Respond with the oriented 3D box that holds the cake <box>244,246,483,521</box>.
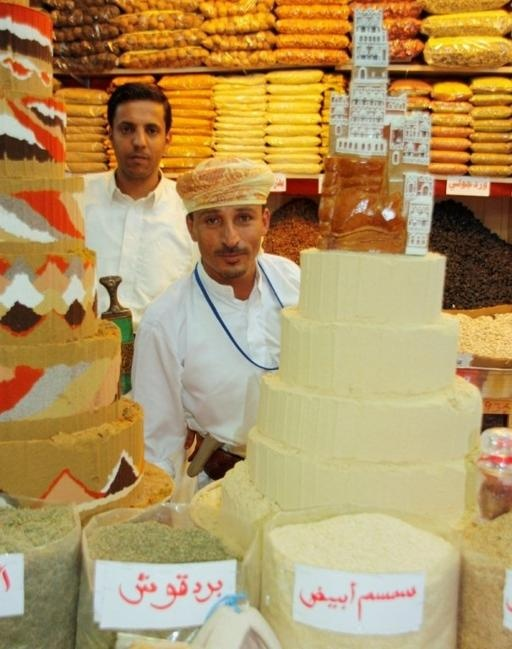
[{"bbox_3d":[0.216,0.100,1.059,0.463,0.442,0.424,1,7,21],"label":"cake"}]
